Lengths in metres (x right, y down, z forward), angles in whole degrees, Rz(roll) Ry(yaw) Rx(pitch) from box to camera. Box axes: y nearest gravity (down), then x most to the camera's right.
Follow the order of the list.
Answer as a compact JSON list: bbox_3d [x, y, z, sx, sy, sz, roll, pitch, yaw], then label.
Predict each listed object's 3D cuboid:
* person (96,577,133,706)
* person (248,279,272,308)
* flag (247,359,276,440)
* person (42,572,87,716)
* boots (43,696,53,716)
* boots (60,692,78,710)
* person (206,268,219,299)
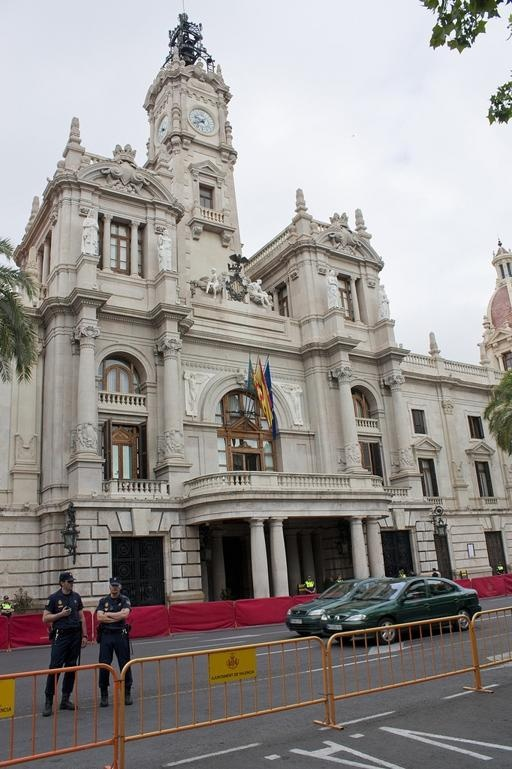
[{"bbox_3d":[-2.190,3.909,8.925,0.495,1.830,1.161,-1,-20,-15],"label":"person"},{"bbox_3d":[0.089,-5.489,35.450,1.545,1.781,0.421,4,-22,-27],"label":"person"},{"bbox_3d":[0.234,0.502,32.270,1.196,4.666,2.272,-8,-19,7],"label":"flag"},{"bbox_3d":[-2.921,3.863,8.835,0.609,1.990,1.584,0,-20,-16],"label":"person"},{"bbox_3d":[-2.968,4.572,8.280,0.121,0.264,0.430,1,-21,-19],"label":"boots"},{"bbox_3d":[-2.845,4.756,8.717,0.176,0.241,0.281,2,-21,-22],"label":"boots"},{"bbox_3d":[-2.572,-5.915,33.657,0.850,1.815,0.473,1,-20,-18],"label":"person"}]
